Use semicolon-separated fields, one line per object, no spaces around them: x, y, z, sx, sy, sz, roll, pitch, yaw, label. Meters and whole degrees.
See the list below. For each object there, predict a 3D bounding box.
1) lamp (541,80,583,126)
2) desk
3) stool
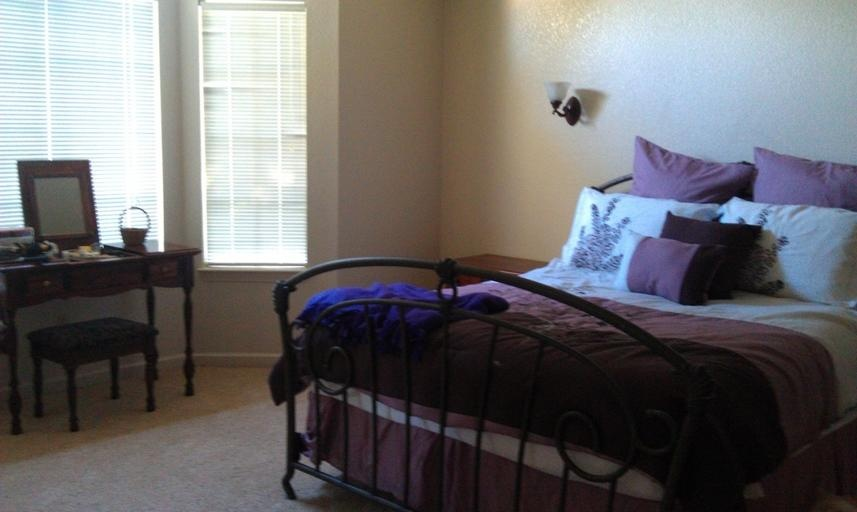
1.024;-1.159;5.030;0.283;0.335;0.163;7;17;26;lamp
-2.214;0.536;4.384;0.592;1.034;1.331;2;4;37;desk
-2.149;0.695;4.456;0.737;0.700;0.915;2;4;39;stool
